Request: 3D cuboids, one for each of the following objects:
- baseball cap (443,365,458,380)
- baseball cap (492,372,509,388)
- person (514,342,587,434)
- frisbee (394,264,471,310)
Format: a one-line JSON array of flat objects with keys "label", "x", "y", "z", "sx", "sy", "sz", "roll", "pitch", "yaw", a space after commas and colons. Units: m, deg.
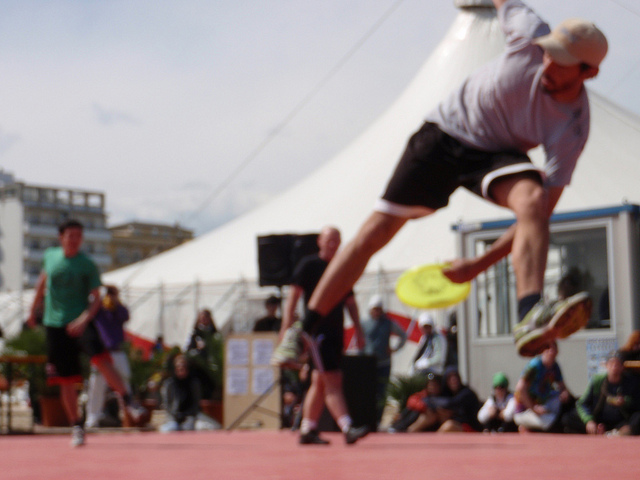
[{"label": "baseball cap", "x": 1.457, "y": 1.457, "z": 12.943, "sx": 0.158, "sy": 0.155, "sz": 0.339, "roll": -1, "pitch": -8, "yaw": 7}, {"label": "baseball cap", "x": 1.971, "y": 1.506, "z": 12.711, "sx": 0.153, "sy": 0.157, "sz": 0.164, "roll": 1, "pitch": -22, "yaw": 2}, {"label": "person", "x": 2.351, "y": 1.496, "z": 12.140, "sx": 0.558, "sy": 0.951, "sz": 0.739, "roll": 3, "pitch": -3, "yaw": -12}, {"label": "frisbee", "x": 0.821, "y": 0.374, "z": 8.962, "sx": 0.424, "sy": 0.090, "sz": 0.435, "roll": -6, "pitch": -17, "yaw": 14}]
